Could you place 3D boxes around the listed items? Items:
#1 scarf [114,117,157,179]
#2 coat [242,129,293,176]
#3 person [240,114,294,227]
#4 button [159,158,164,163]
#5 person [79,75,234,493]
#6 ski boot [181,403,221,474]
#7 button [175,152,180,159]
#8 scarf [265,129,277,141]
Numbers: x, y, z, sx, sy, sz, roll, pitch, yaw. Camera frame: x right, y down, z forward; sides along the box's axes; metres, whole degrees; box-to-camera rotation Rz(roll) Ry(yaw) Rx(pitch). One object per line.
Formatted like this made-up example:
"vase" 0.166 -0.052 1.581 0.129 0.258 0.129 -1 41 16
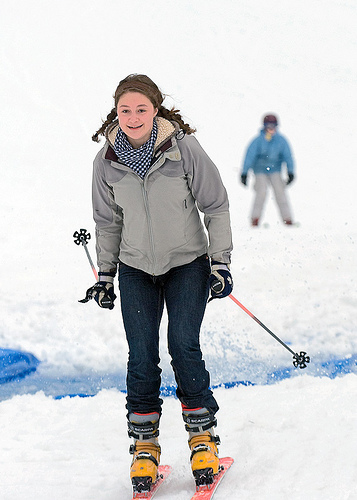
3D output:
"scarf" -0.218 -0.520 2.925 0.231 0.295 0.234 -4 12 -2
"coat" 1.215 -1.309 7.771 0.726 0.645 0.222 -2 21 -1
"person" 1.274 -1.064 7.948 0.667 1.570 0.756 6 16 40
"button" -0.086 -0.446 2.842 0.017 0.015 0.005 14 12 38
"person" -0.090 0.141 2.966 0.815 2.073 0.732 -6 12 -9
"ski boot" 0.123 0.968 2.906 0.184 0.435 0.215 -6 12 -7
"button" -0.008 -0.474 2.865 0.021 0.031 0.019 -2 12 7
"scarf" 1.223 -1.513 7.542 0.115 0.119 0.120 -1 -14 7
